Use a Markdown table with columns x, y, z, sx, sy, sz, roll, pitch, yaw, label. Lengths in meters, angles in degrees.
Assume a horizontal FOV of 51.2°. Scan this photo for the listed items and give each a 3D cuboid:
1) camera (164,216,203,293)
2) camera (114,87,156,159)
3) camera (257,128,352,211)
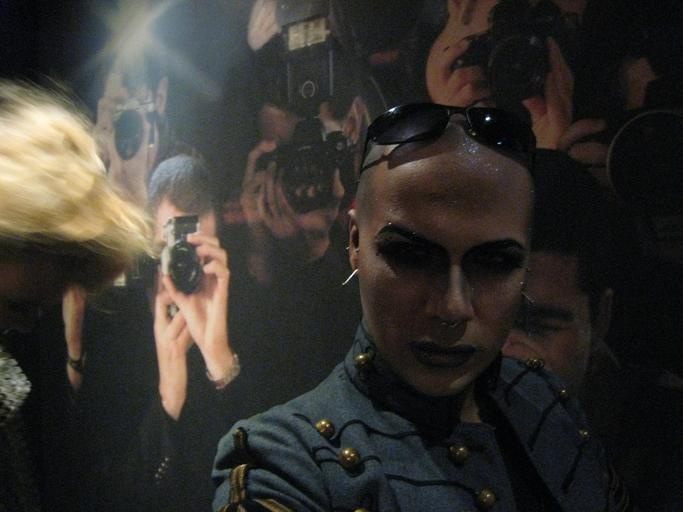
| x | y | z | sx | sy | sz | roll | pitch | yaw | label |
| --- | --- | --- | --- | --- | --- | --- | --- | --- | --- |
| -0.863 | -0.004 | 3.996 | 0.256 | 0.404 | 0.401 | -1 | -9 | -6 | camera |
| -1.265 | -0.793 | 4.312 | 0.295 | 0.379 | 0.347 | 3 | -4 | 5 | camera |
| -0.150 | -0.428 | 3.363 | 0.386 | 0.370 | 0.164 | -3 | 10 | 29 | camera |
